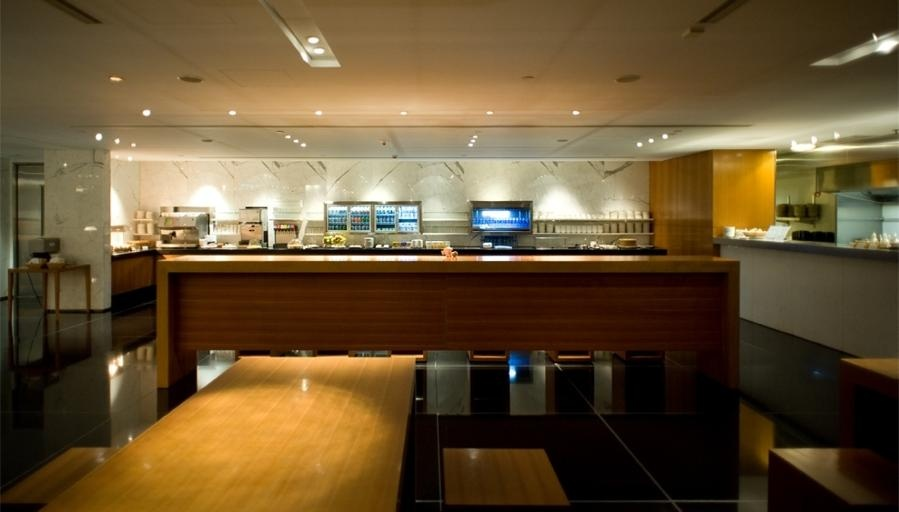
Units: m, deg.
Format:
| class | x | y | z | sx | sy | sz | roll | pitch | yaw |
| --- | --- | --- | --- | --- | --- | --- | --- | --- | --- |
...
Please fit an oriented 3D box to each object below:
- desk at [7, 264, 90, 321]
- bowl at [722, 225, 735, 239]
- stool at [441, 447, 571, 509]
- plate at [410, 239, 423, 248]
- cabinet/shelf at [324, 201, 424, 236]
| class | x | y | z | sx | sy | sz | roll | pitch | yaw |
| --- | --- | --- | --- | --- | --- | --- | --- | --- | --- |
| desk | -7.571 | 0.589 | 11.130 | 1.288 | 0.964 | 1.222 | 0 | -1 | -15 |
| bowl | 5.585 | -0.482 | 11.791 | 0.301 | 0.259 | 0.285 | 2 | -3 | 0 |
| stool | 0.524 | 2.303 | 6.161 | 1.209 | 0.337 | 0.771 | -3 | 7 | -4 |
| plate | -0.757 | -0.303 | 13.816 | 0.297 | 0.135 | 0.675 | -3 | 7 | -4 |
| cabinet/shelf | -1.817 | -0.901 | 14.061 | 2.249 | 0.821 | 0.412 | -3 | 6 | -8 |
